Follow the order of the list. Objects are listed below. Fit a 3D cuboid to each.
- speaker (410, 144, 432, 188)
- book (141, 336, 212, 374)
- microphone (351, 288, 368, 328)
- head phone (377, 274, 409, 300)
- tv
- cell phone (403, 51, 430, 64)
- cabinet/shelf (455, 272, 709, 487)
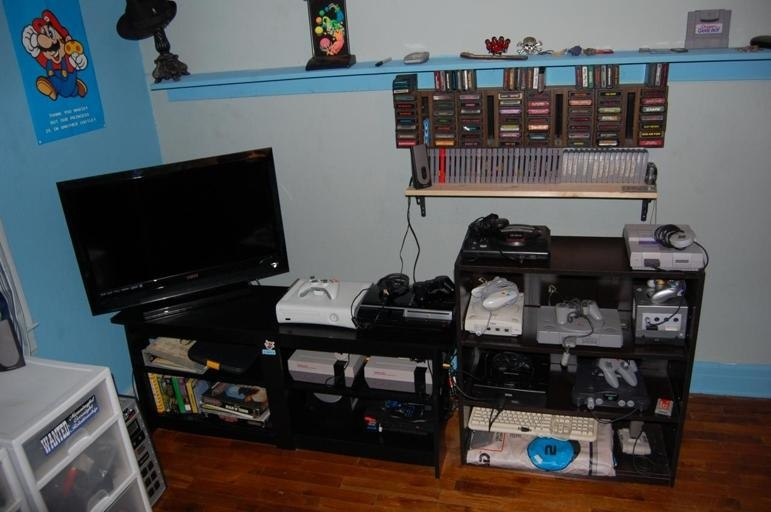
[{"bbox_3d":[0.217,-0.537,3.482,0.062,0.257,0.123,15,27,42],"label":"speaker"},{"bbox_3d":[-1.393,0.646,3.769,0.303,0.074,0.292,7,13,8],"label":"book"},{"bbox_3d":[-0.165,0.325,3.574,0.079,0.160,0.266,-2,19,7],"label":"microphone"},{"bbox_3d":[0.045,0.187,3.631,0.204,0.065,0.271,-5,19,-3],"label":"head phone"},{"bbox_3d":[-1.374,-0.113,3.622,1.058,0.709,0.281,-15,25,-14],"label":"tv"},{"bbox_3d":[0.182,-1.184,3.460,0.145,0.067,0.076,-4,19,1],"label":"cell phone"},{"bbox_3d":[1.146,0.744,3.427,1.299,1.125,0.489,2,10,11],"label":"cabinet/shelf"}]
